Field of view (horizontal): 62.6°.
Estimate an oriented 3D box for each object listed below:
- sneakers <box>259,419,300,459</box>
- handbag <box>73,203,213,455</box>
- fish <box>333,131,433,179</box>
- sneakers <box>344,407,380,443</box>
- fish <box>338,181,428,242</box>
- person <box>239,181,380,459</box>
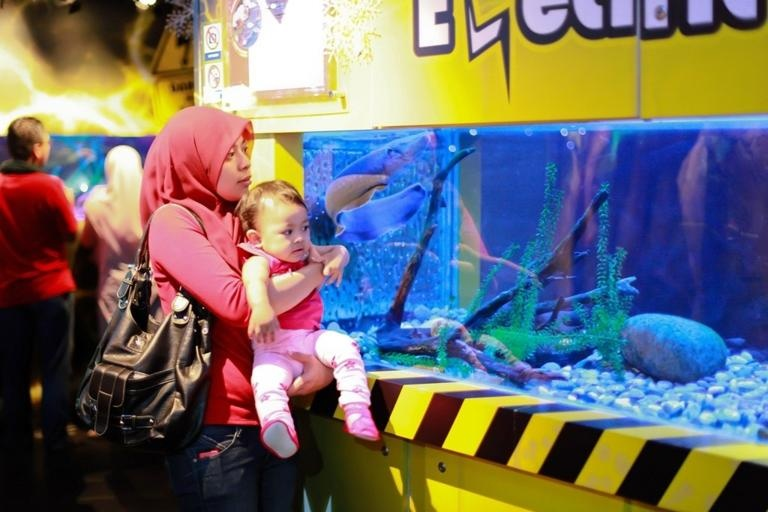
[{"bbox_3d":[-0.388,0.687,2.374,0.115,0.157,0.038,-38,17,8],"label":"sneakers"},{"bbox_3d":[-0.943,0.324,2.488,0.549,0.835,0.394,15,21,39],"label":"handbag"},{"bbox_3d":[0.017,-0.464,3.033,0.470,0.168,0.131,-12,13,16],"label":"fish"},{"bbox_3d":[-0.096,0.637,2.474,0.095,0.159,0.060,-14,31,-8],"label":"sneakers"},{"bbox_3d":[-0.009,-0.200,3.047,0.361,0.108,0.261,-32,43,8],"label":"fish"},{"bbox_3d":[-0.312,0.225,2.518,0.487,0.970,0.552,-2,17,-14],"label":"person"}]
